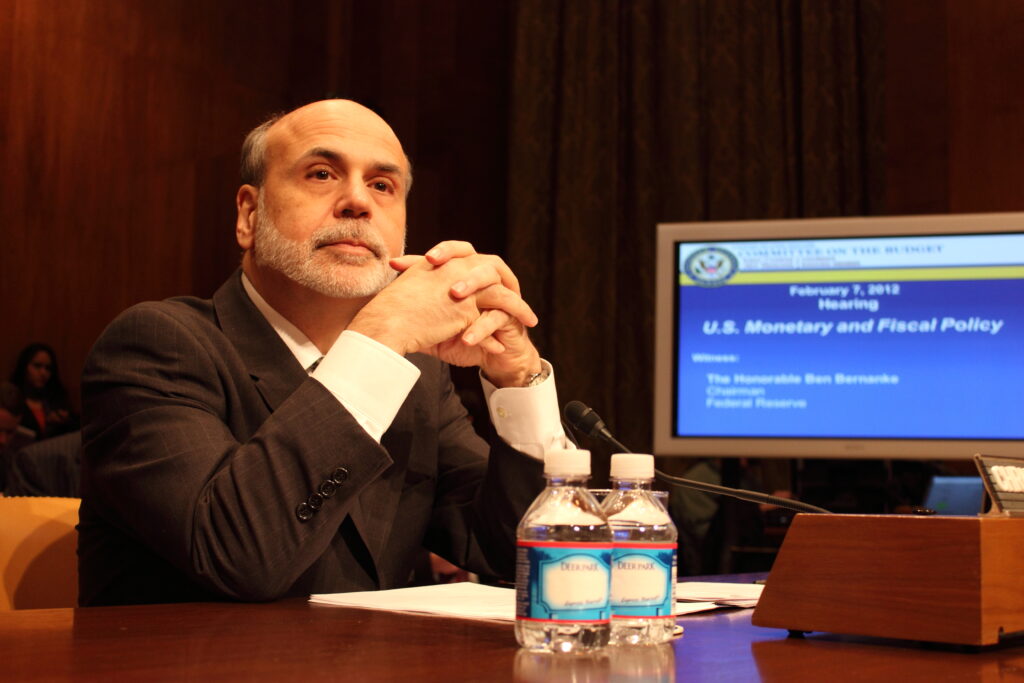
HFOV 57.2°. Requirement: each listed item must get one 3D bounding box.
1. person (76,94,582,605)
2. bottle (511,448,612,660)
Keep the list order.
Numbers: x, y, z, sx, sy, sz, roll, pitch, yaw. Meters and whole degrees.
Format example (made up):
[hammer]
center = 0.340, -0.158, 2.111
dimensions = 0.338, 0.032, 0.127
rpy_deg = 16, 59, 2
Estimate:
[person]
center = -0.381, 0.015, 1.938
dimensions = 0.900, 1.027, 0.755
rpy_deg = 0, 0, -35
[bottle]
center = 0.068, 0.285, 1.278
dimensions = 0.134, 0.273, 0.110
rpy_deg = 0, 0, 3
